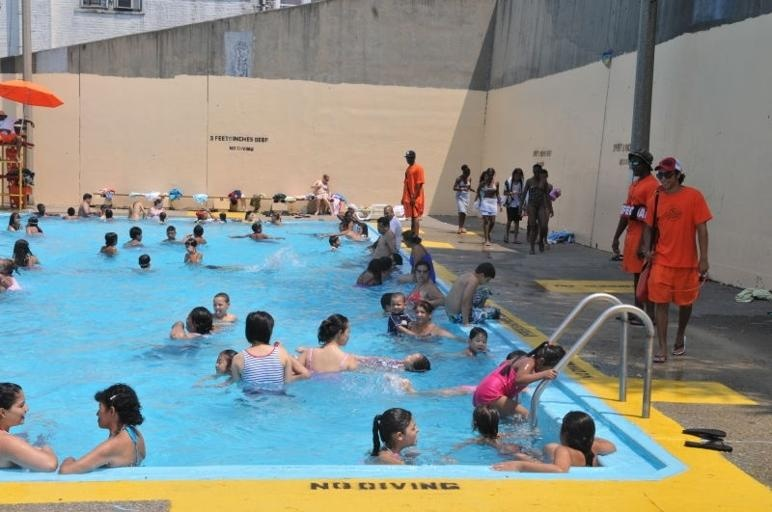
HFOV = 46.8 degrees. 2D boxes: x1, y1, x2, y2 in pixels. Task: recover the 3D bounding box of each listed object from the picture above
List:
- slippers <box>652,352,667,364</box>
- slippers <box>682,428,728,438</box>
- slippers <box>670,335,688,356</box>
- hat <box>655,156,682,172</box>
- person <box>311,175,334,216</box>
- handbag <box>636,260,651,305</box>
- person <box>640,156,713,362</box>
[{"bbox_3d":[3.806,1.426,12.402,0.253,0.169,0.661,-2,-5,16],"label":"slippers"},{"bbox_3d":[3.871,2.166,10.863,0.359,0.049,0.191,0,1,10],"label":"slippers"},{"bbox_3d":[4.213,1.271,12.815,0.146,0.370,0.102,-1,-41,42],"label":"slippers"},{"bbox_3d":[3.938,-1.272,12.442,0.350,0.190,0.248,0,13,3],"label":"hat"},{"bbox_3d":[-1.926,-1.822,26.390,0.605,1.240,0.655,6,-11,-18],"label":"person"},{"bbox_3d":[3.740,0.373,12.947,0.229,0.825,0.364,5,26,14],"label":"handbag"},{"bbox_3d":[4.052,0.067,12.457,0.821,2.810,0.749,3,14,14],"label":"person"}]
